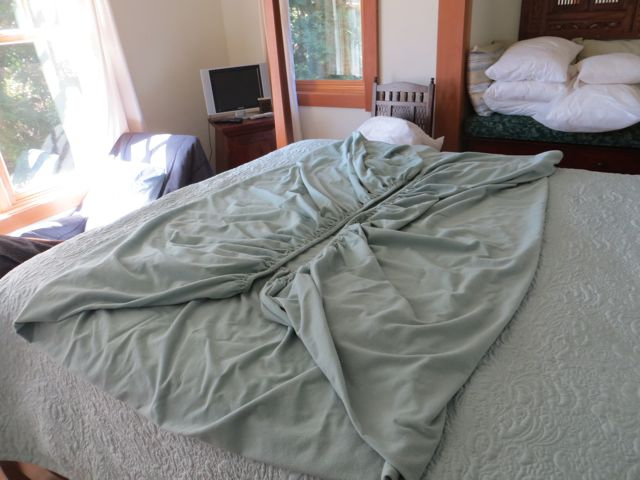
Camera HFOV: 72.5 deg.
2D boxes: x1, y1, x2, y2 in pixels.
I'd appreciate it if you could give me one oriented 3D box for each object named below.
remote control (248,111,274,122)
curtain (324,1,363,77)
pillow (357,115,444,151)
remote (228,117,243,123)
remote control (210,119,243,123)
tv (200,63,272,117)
[{"bbox_3d":[-0.526,-1.110,3.915,0.232,0.050,0.137,-15,26,-22],"label":"remote control"},{"bbox_3d":[0.187,-1.686,3.650,0.354,0.585,0.036,12,28,33],"label":"curtain"},{"bbox_3d":[0.496,-0.761,3.024,0.370,0.119,0.359,19,30,28],"label":"pillow"},{"bbox_3d":[-0.747,-1.062,3.863,0.126,0.031,0.106,-6,24,-4],"label":"remote"},{"bbox_3d":[-0.841,-1.060,3.877,0.316,0.026,0.077,4,25,18],"label":"remote control"},{"bbox_3d":[-0.740,-1.351,3.906,0.464,0.352,0.124,-18,29,-24],"label":"tv"}]
